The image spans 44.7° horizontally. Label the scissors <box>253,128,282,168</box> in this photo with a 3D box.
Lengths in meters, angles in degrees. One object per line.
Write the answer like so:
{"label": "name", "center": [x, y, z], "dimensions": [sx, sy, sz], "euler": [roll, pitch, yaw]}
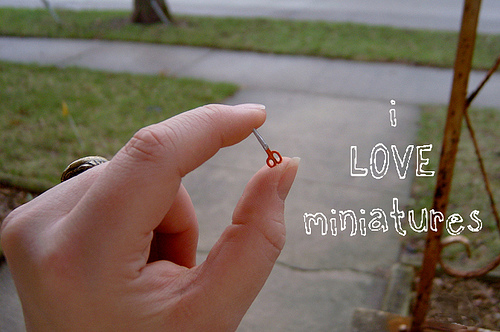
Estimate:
{"label": "scissors", "center": [0.109, -0.106, 3.773], "dimensions": [0.115, 0.033, 0.292], "euler": [-32, 67, 4]}
